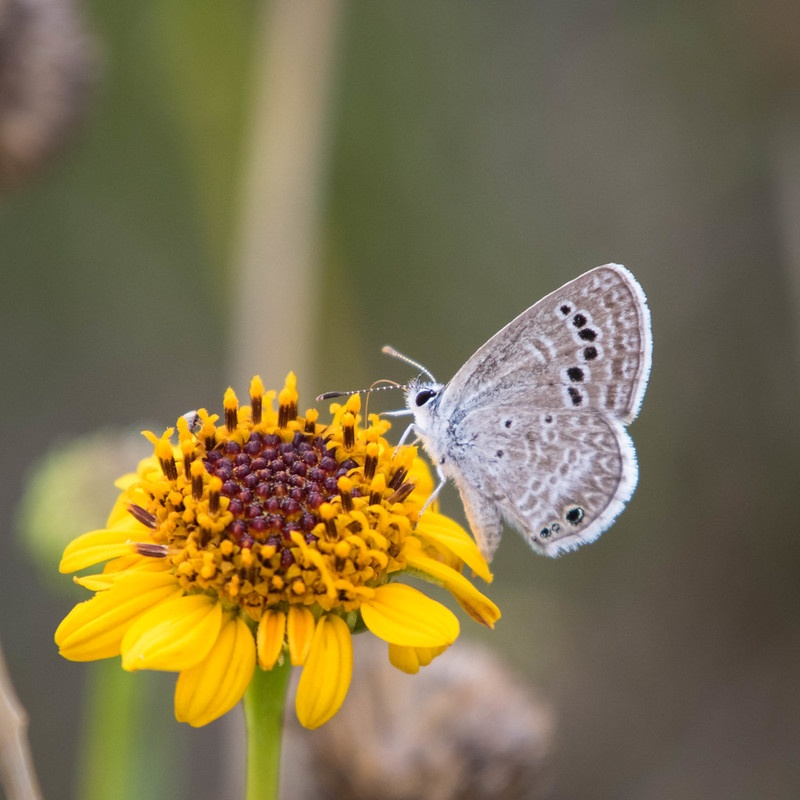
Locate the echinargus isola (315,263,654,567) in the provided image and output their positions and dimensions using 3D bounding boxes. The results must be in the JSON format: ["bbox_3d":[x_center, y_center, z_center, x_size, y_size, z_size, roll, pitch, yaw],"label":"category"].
[{"bbox_3d":[0.231,-0.107,3.383,0.834,0.999,0.772,21,79,-13],"label":"echinargus isola"}]

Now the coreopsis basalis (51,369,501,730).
[{"bbox_3d":[-0.331,0.391,2.787,1.096,0.474,0.826,7,38,-14],"label":"coreopsis basalis"}]
